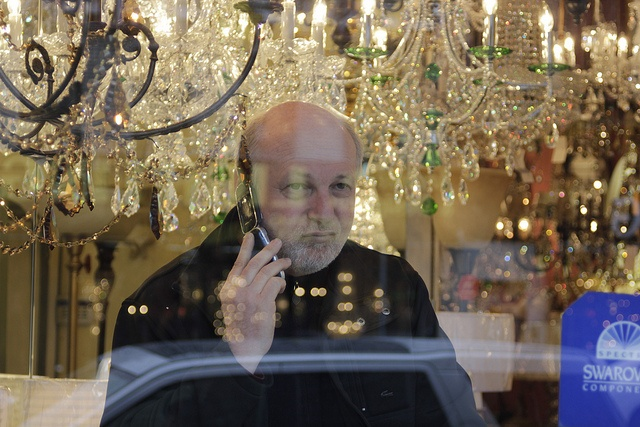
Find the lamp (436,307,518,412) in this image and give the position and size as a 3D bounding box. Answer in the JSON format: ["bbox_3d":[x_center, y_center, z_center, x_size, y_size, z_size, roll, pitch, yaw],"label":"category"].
[{"bbox_3d":[0.904,0.820,6.338,0.470,0.619,0.499,-2,4,-7],"label":"lamp"}]

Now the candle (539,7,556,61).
[{"bbox_3d":[1.332,-1.033,6.662,0.076,0.324,0.257,-4,0,11],"label":"candle"}]
